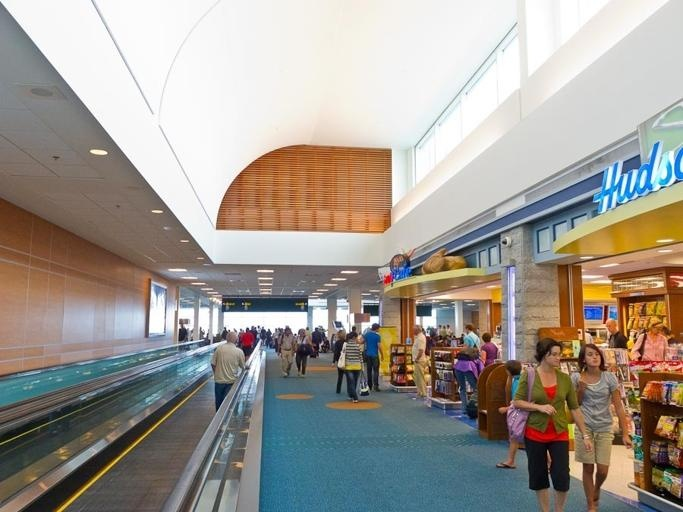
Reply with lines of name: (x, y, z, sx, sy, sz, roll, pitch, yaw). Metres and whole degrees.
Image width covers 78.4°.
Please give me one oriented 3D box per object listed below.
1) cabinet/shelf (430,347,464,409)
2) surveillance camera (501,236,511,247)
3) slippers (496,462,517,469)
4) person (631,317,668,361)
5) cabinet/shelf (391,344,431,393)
cabinet/shelf: (2.626, 3.097, 10.323, 0.498, 1.333, 1.330, 2, -12, -6)
surveillance camera: (3.509, -0.267, 8.919, 0.086, 0.237, 0.360, 4, -10, -6)
slippers: (2.303, 2.970, 5.842, 0.172, 0.045, 0.101, 5, -13, 7)
person: (6.718, 1.838, 9.067, 0.587, 1.244, 0.386, 2, -25, 13)
cabinet/shelf: (2.194, 3.666, 13.616, 1.182, 1.247, 0.847, 1, -12, -3)
